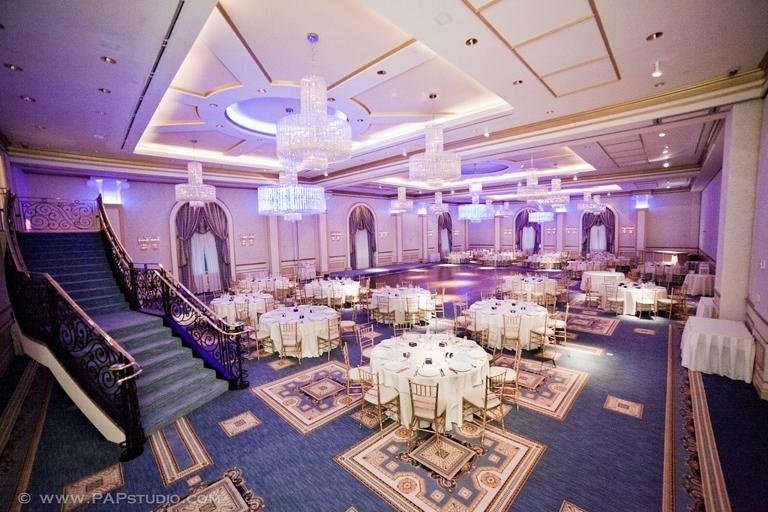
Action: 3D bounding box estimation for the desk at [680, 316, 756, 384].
[{"bbox_3d":[6.529,1.744,8.620,1.083,0.712,1.082,1,2,42],"label":"desk"}]
